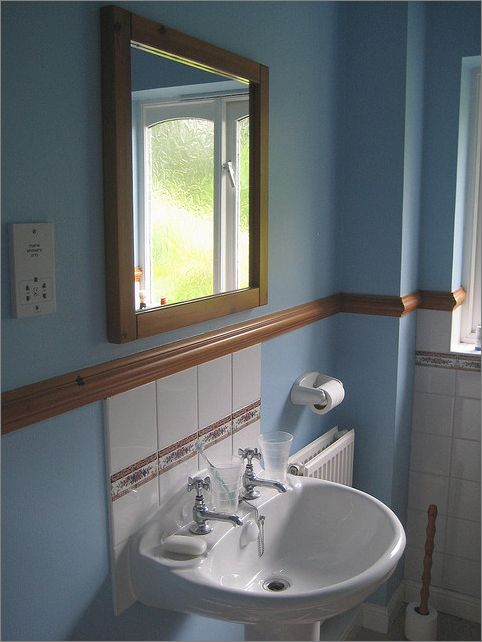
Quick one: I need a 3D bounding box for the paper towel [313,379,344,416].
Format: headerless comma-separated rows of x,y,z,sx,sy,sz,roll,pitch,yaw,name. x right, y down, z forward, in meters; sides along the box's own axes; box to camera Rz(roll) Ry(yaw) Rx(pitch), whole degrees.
0.314,0.248,1.728,0.100,0.119,0.141,8,6,24,paper towel

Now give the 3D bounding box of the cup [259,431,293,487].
0.100,0.348,1.308,0.101,0.175,0.114,2,1,11,cup

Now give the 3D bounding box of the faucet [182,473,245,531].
-0.064,0.390,1.114,0.155,0.159,0.073,4,6,37,faucet

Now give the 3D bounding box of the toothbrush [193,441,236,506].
-0.064,0.358,1.127,0.022,0.161,0.029,-32,12,-14,toothbrush

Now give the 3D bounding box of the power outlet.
-0.308,-0.076,0.720,0.013,0.136,0.083,7,12,18,power outlet

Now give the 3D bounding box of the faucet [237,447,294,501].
0.063,0.370,1.258,0.152,0.162,0.083,3,5,36,faucet
